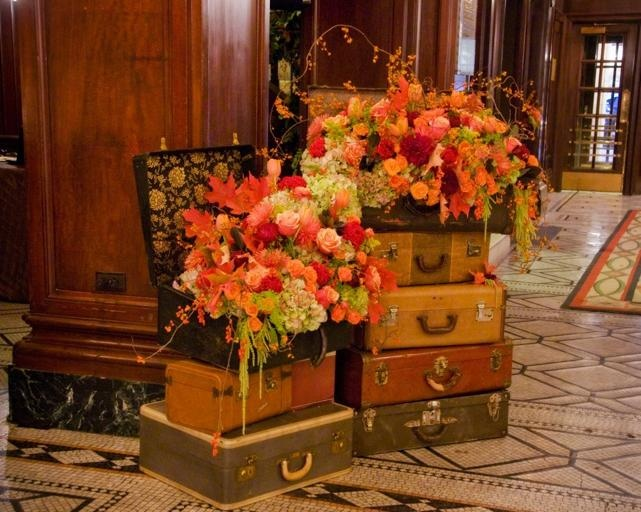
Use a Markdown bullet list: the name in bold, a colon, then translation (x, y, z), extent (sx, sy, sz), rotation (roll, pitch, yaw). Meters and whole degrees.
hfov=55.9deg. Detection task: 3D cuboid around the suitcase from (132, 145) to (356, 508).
- **suitcase**: translation (-0.301, 0.225, 2.379), extent (0.710, 1.267, 0.670), rotation (-9, 16, -41)
